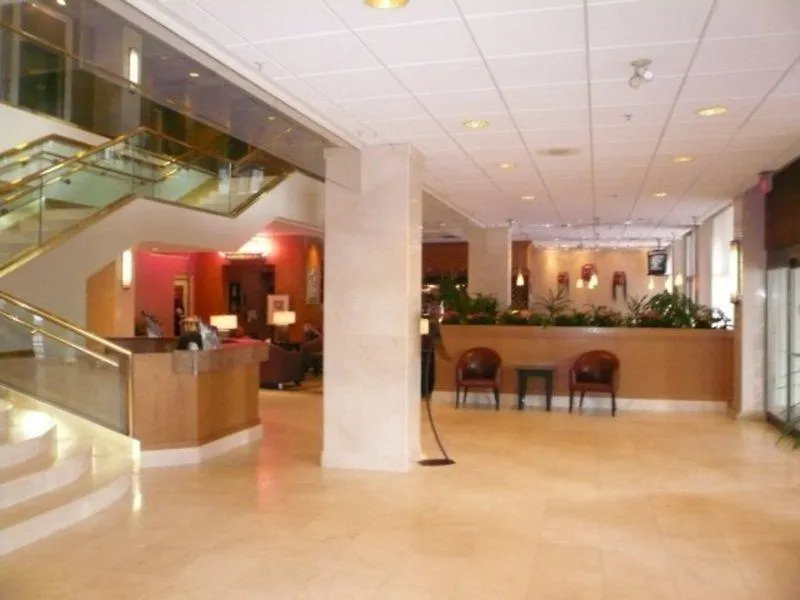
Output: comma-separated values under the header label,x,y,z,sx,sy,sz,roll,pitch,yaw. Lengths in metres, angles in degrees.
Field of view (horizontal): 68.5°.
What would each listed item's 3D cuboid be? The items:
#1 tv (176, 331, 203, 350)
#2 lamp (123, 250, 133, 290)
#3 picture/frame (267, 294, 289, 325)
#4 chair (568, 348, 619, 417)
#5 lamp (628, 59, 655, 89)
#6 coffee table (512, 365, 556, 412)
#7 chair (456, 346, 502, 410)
label,x,y,z,sx,sy,sz,roll,pitch,yaw
tv,-2.645,0.506,7.379,0.247,0.169,0.249,-3,-3,36
lamp,-5.491,-0.604,11.855,0.114,0.740,0.287,0,2,4
picture/frame,-3.248,0.254,15.743,0.915,0.978,0.073,1,-1,-6
chair,3.348,1.351,10.050,0.753,0.883,0.721,0,-1,28
lamp,1.997,-1.873,4.904,0.205,0.198,0.193,-1,-3,2
coffee table,2.396,1.546,10.491,0.672,0.735,0.793,1,2,12
chair,1.429,1.345,10.373,0.864,0.931,0.854,-1,-2,34
